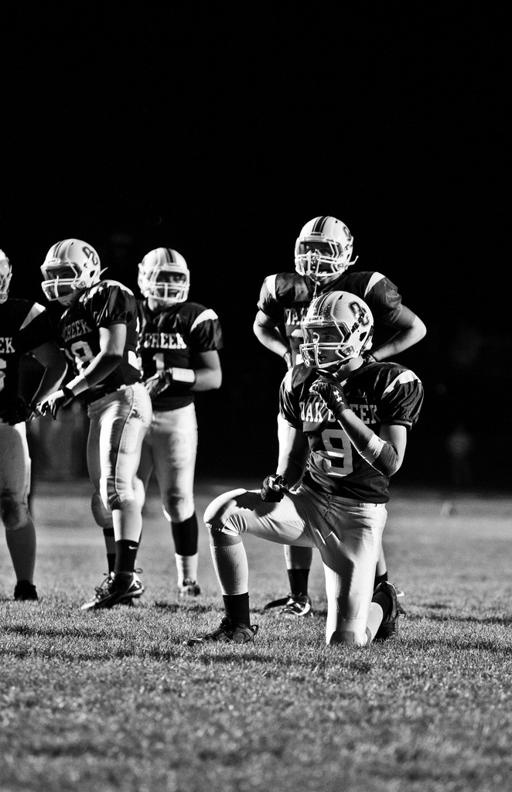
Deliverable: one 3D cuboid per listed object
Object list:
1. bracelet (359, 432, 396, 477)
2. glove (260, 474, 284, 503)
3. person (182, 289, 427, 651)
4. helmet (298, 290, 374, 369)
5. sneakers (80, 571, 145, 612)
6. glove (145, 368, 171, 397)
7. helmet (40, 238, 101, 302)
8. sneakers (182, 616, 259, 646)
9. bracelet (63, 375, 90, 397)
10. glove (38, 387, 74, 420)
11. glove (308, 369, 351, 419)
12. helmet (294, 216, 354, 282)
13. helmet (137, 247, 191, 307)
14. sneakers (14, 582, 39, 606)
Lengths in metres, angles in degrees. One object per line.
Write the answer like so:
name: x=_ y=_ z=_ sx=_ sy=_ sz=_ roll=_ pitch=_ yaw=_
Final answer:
bracelet: x=0.465 y=0.223 z=3.681 sx=0.160 sy=0.121 sz=0.069 roll=40 pitch=-13 yaw=10
glove: x=0.064 y=0.358 z=3.747 sx=0.081 sy=0.101 sz=0.109 roll=-2 pitch=4 yaw=-42
person: x=0.233 y=0.255 z=3.877 sx=0.820 sy=1.413 sz=0.594 roll=2 pitch=-5 yaw=2
helmet: x=0.316 y=-0.265 z=3.896 sx=0.263 sy=0.278 sz=0.348 roll=-3 pitch=-5 yaw=42
sneakers: x=-0.725 y=0.939 z=4.566 sx=0.342 sy=0.153 sz=0.112 roll=-14 pitch=9 yaw=-23
glove: x=-0.536 y=-0.071 z=5.246 sx=0.179 sy=0.099 sz=0.053 roll=-35 pitch=-13 yaw=2
helmet: x=-0.914 y=-0.656 z=4.966 sx=0.276 sy=0.309 sz=0.343 roll=-4 pitch=7 yaw=32
sneakers: x=-0.130 y=0.894 z=3.650 sx=0.279 sy=0.100 sz=0.091 roll=6 pitch=-11 yaw=-24
bracelet: x=-0.857 y=-0.044 z=4.605 sx=0.124 sy=0.053 sz=0.074 roll=-32 pitch=35 yaw=-16
glove: x=-0.972 y=0.034 z=4.666 sx=0.166 sy=0.157 sz=0.295 roll=3 pitch=-5 yaw=-16
glove: x=0.262 y=-0.013 z=3.674 sx=0.060 sy=0.167 sz=0.109 roll=-17 pitch=-35 yaw=-17
helmet: x=0.329 y=-0.742 z=4.998 sx=0.289 sy=0.274 sz=0.354 roll=2 pitch=1 yaw=27
helmet: x=-0.518 y=-0.686 z=5.608 sx=0.274 sy=0.291 sz=0.355 roll=1 pitch=10 yaw=-22
sneakers: x=-1.122 y=0.953 z=4.701 sx=0.080 sy=0.118 sz=0.123 roll=1 pitch=-21 yaw=-4
